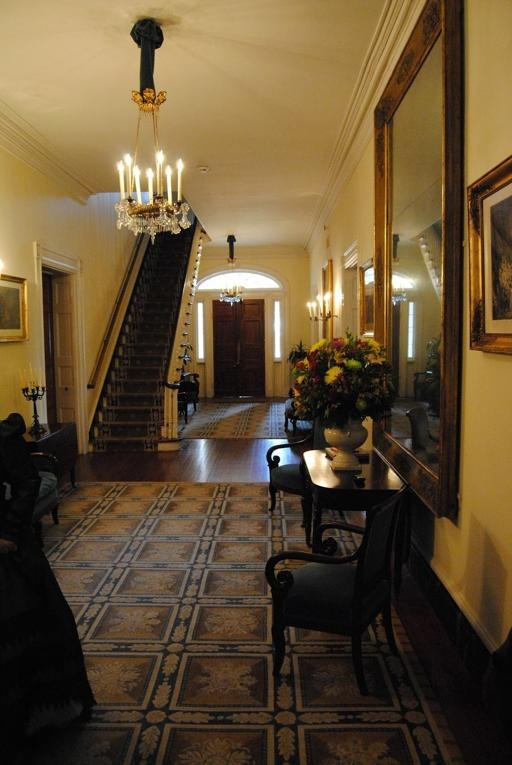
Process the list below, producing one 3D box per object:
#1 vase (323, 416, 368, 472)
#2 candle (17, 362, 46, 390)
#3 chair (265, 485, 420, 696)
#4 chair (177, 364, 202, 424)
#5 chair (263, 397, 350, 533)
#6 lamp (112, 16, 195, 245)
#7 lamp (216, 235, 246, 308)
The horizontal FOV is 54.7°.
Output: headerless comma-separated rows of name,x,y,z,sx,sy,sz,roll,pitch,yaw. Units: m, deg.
vase,0.568,0.399,3.226,0.293,0.411,0.311,1,-4,1
candle,-2.377,-0.064,5.210,0.240,0.321,0.247,-3,11,-20
chair,0.427,0.763,2.631,0.707,1.243,0.856,3,3,29
chair,-1.444,0.288,10.716,0.379,0.759,1.122,0,16,-1
chair,0.448,0.691,4.692,0.753,1.556,0.941,2,2,7
lamp,-0.773,-1.906,3.708,0.508,1.432,0.464,-10,20,-26
lamp,-0.659,-2.771,12.428,0.617,1.500,2.011,-1,3,-3
